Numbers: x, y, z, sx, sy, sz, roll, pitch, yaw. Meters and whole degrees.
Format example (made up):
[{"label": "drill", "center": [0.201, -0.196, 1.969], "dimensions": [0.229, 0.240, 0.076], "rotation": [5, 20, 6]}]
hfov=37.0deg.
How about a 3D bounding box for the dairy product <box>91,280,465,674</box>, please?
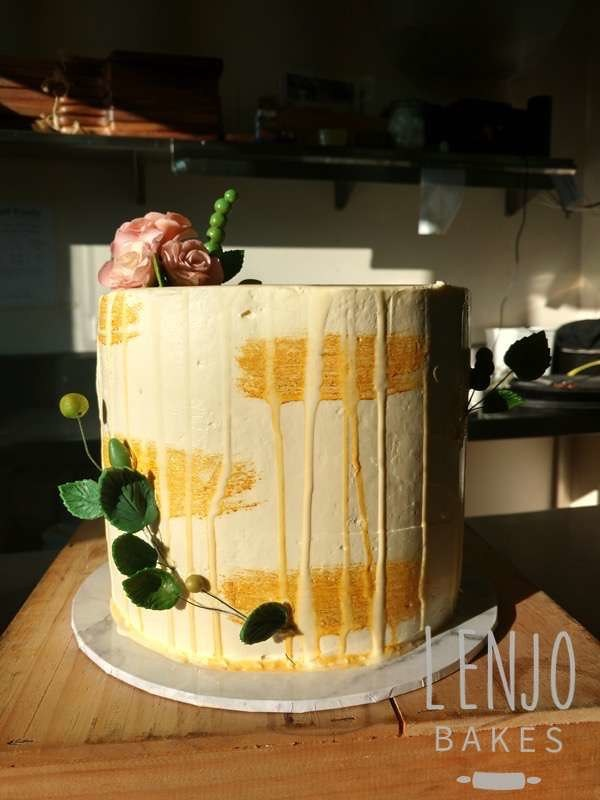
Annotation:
[{"label": "dairy product", "center": [0.058, 0.075, 0.890], "dimensions": [0.420, 0.300, 0.376], "rotation": [2, -4, -25]}]
